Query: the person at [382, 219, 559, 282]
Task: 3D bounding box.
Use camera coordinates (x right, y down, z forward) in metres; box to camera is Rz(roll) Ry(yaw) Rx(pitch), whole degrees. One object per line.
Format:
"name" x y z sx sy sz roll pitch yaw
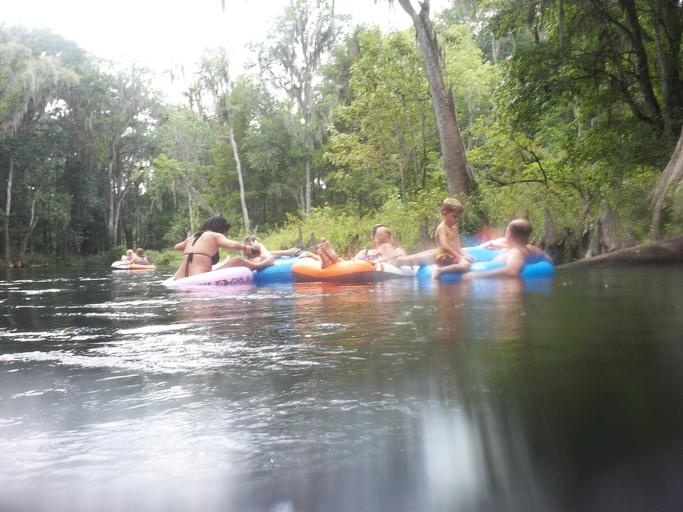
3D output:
"person" 2.391 0.054 8.518 1.731 0.770 1.391 -7 3 -2

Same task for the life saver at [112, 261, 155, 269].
"life saver" -8.000 0.372 20.767 1.025 0.277 1.691 2 -4 -30

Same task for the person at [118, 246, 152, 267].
"person" -8.230 -0.055 21.884 1.144 0.662 1.627 0 -10 -9

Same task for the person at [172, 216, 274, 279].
"person" -2.020 -0.076 9.341 1.428 0.935 1.174 8 7 40

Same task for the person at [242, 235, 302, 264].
"person" -1.572 -0.104 10.380 0.881 0.420 0.590 0 3 26
